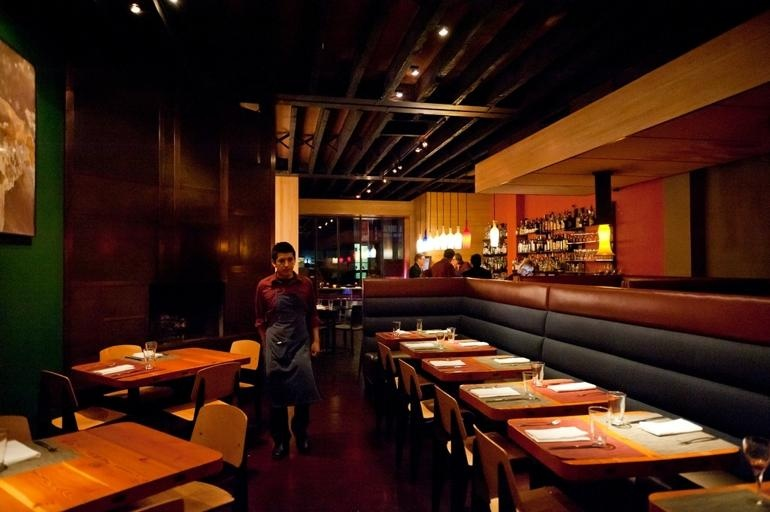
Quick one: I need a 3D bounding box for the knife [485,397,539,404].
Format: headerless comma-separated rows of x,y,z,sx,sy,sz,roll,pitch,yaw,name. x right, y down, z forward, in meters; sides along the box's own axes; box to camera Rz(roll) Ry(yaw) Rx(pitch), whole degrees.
1.156,1.300,5.017,0.483,0.021,0.096,0,-2,-6,knife

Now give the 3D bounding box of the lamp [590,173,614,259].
3.322,-0.665,8.443,0.252,1.241,0.657,-1,-1,19,lamp

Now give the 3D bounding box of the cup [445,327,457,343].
0.861,1.025,7.170,0.193,0.204,0.190,0,-7,0,cup

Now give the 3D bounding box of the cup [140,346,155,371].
-2.554,1.069,6.035,0.120,0.272,0.356,0,-1,-24,cup

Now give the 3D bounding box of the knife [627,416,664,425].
2.189,1.390,4.713,0.362,0.040,0.121,0,-2,-15,knife

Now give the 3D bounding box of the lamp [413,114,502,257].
1.746,-0.865,14.831,2.330,1.913,4.379,0,-1,2,lamp

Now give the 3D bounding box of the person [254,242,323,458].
-1.093,1.033,6.263,0.705,2.380,0.477,0,-1,-9,person
